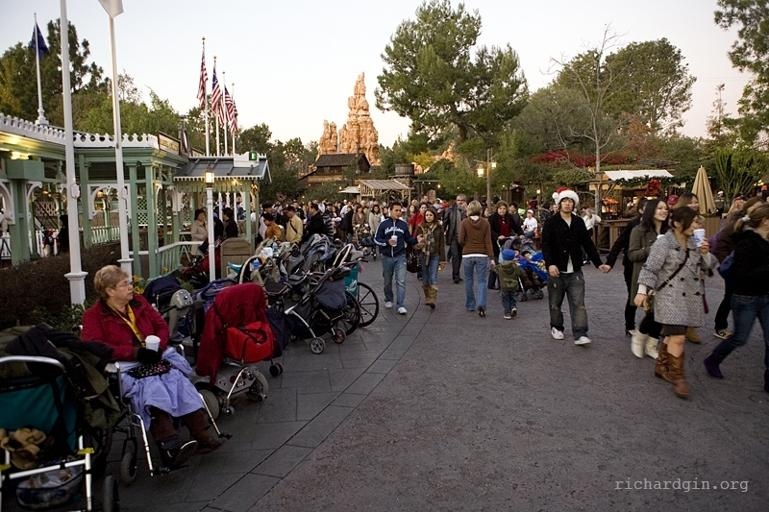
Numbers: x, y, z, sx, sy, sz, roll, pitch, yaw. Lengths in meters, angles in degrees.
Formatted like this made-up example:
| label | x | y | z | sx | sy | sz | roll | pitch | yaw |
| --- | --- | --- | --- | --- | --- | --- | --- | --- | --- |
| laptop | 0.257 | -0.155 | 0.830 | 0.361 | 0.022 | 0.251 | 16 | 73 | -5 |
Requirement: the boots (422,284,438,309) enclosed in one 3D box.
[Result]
| label | x | y | z | sx | sy | sz | roll | pitch | yaw |
| --- | --- | --- | --- | --- | --- | --- | --- | --- | --- |
| boots | 0.990 | 0.943 | 12.002 | 0.300 | 0.545 | 0.492 | 2 | -13 | -19 |

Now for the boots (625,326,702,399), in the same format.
| label | x | y | z | sx | sy | sz | roll | pitch | yaw |
| --- | --- | --- | --- | --- | --- | --- | --- | --- | --- |
| boots | 3.684 | 1.377 | 6.919 | 0.382 | 0.620 | 1.237 | 0 | 3 | 6 |

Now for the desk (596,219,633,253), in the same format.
| label | x | y | z | sx | sy | sz | roll | pitch | yaw |
| --- | --- | --- | --- | --- | --- | --- | --- | --- | --- |
| desk | 8.564 | -0.640 | 19.702 | 1.484 | 1.396 | 1.463 | -3 | -1 | 39 |

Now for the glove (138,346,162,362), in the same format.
| label | x | y | z | sx | sy | sz | roll | pitch | yaw |
| --- | --- | --- | --- | --- | --- | --- | --- | --- | --- |
| glove | -2.419 | 1.001 | 5.433 | 0.164 | 0.127 | 0.141 | 1 | 2 | 19 |

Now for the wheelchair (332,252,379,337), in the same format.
| label | x | y | z | sx | sy | sz | roll | pitch | yaw |
| --- | --- | --- | --- | --- | --- | --- | --- | --- | --- |
| wheelchair | -0.524 | 0.744 | 10.378 | 1.241 | 1.436 | 1.039 | 0 | 2 | 13 |

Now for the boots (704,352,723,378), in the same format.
| label | x | y | z | sx | sy | sz | roll | pitch | yaw |
| --- | --- | --- | --- | --- | --- | --- | --- | --- | --- |
| boots | 4.469 | 1.455 | 7.216 | 0.221 | 0.338 | 0.320 | 4 | 12 | 33 |

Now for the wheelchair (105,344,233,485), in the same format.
| label | x | y | z | sx | sy | sz | roll | pitch | yaw |
| --- | --- | --- | --- | --- | --- | --- | --- | --- | --- |
| wheelchair | -2.534 | 1.369 | 5.547 | 1.617 | 1.569 | 1.171 | -14 | -6 | 39 |

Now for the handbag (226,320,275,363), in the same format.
| label | x | y | z | sx | sy | sz | roll | pitch | yaw |
| --- | --- | --- | --- | --- | --- | --- | --- | --- | --- |
| handbag | -1.635 | 1.053 | 6.453 | 0.591 | 0.491 | 0.319 | -6 | 11 | -21 |

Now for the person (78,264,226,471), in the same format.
| label | x | y | z | sx | sy | sz | roll | pitch | yaw |
| --- | --- | --- | --- | --- | --- | --- | --- | --- | --- |
| person | -2.471 | 1.124 | 5.650 | 0.984 | 2.849 | 1.181 | 0 | 1 | 37 |
